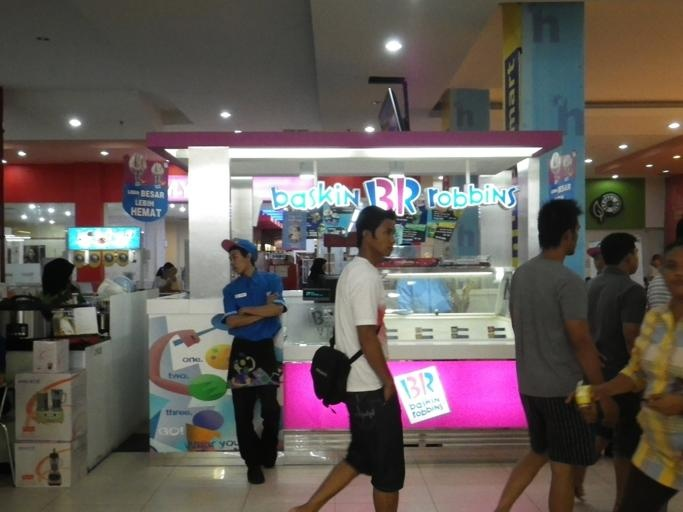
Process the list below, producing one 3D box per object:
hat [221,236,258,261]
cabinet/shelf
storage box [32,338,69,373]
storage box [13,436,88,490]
[{"bbox_3d":[-0.891,-0.077,5.154,0.270,0.154,0.201,31,-14,-14],"label":"hat"},{"bbox_3d":[0.689,0.895,5.952,2.484,1.814,1.355,-1,12,-7],"label":"cabinet/shelf"},{"bbox_3d":[-2.521,0.865,5.000,0.289,0.289,0.280,0,-2,-4],"label":"storage box"},{"bbox_3d":[-2.525,1.760,5.017,0.431,0.435,0.277,0,15,-1],"label":"storage box"}]
